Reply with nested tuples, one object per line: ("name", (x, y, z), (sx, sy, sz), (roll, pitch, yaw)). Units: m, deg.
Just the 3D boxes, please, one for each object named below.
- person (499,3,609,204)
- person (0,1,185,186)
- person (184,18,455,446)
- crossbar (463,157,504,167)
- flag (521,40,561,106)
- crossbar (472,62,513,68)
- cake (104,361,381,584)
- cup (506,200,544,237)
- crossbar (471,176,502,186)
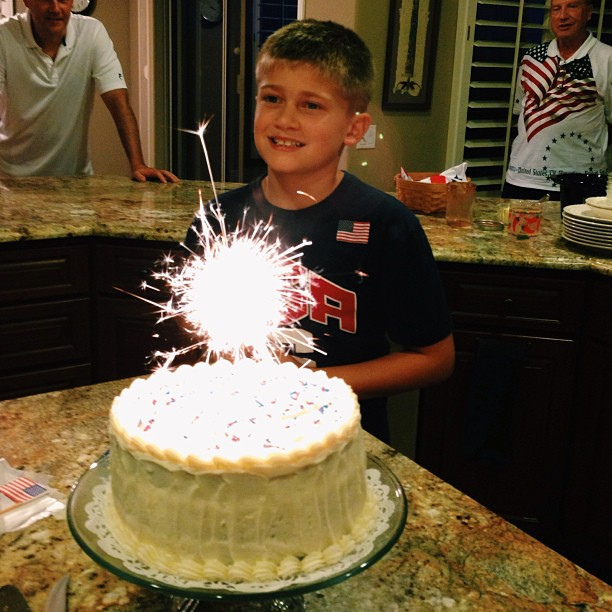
("person", (1.850, -1.482, 4.227), (0.736, 1.369, 0.474), (1, 16, 15))
("person", (-1.537, -1.353, 3.754), (0.969, 1.080, 0.624), (-4, 15, -5))
("person", (0.080, -0.160, 1.622), (0.607, 1.110, 0.627), (15, 22, 19))
("crossbar", (1.636, -1.314, 5.262), (0.376, 0.078, 0.096), (-5, 14, -10))
("flag", (1.655, -1.684, 4.390), (0.104, 0.539, 0.420), (3, 12, 27))
("crossbar", (1.643, -2.112, 5.054), (0.354, 0.050, 0.032), (3, 5, 4))
("cake", (-0.094, 0.236, 0.843), (0.381, 0.150, 0.358), (-3, 5, -16))
("cup", (1.027, -0.414, 2.718), (0.154, 0.154, 0.230), (2, 14, 18))
("crossbar", (1.653, -1.147, 5.295), (0.303, 0.083, 0.118), (-12, 16, -35))
